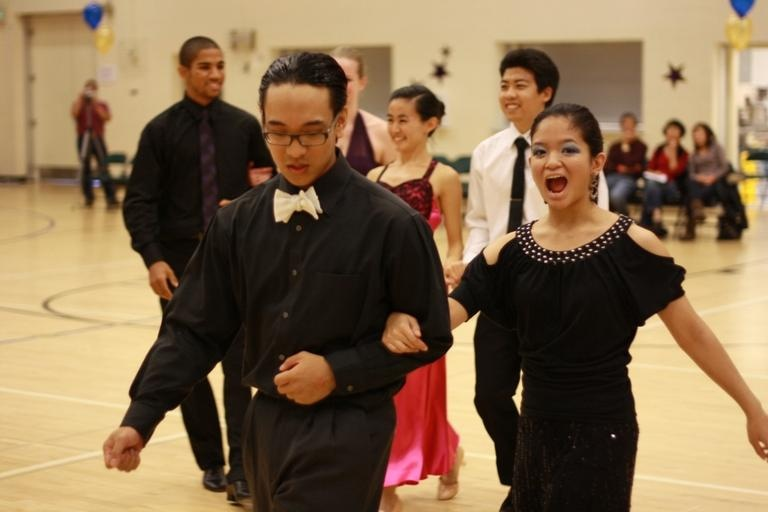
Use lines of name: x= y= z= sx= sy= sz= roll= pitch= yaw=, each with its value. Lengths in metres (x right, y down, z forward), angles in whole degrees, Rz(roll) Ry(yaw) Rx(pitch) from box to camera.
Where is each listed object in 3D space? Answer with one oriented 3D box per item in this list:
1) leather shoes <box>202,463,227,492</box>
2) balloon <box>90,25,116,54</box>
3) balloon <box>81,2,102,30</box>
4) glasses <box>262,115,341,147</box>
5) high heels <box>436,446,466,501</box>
leather shoes: x=-0.917 y=1.215 z=3.853 sx=0.085 sy=0.158 sz=0.227 roll=2 pitch=-22 yaw=-8
balloon: x=-2.188 y=-1.757 z=5.544 sx=0.191 sy=0.263 sz=0.079 roll=2 pitch=0 yaw=-15
balloon: x=-2.172 y=-1.816 z=5.285 sx=0.155 sy=0.203 sz=0.132 roll=1 pitch=21 yaw=-23
glasses: x=-0.260 y=-0.391 z=2.229 sx=0.231 sy=0.091 sz=0.076 roll=0 pitch=8 yaw=-6
high heels: x=0.364 y=1.175 z=3.878 sx=0.092 sy=0.294 sz=0.127 roll=2 pitch=-30 yaw=24
